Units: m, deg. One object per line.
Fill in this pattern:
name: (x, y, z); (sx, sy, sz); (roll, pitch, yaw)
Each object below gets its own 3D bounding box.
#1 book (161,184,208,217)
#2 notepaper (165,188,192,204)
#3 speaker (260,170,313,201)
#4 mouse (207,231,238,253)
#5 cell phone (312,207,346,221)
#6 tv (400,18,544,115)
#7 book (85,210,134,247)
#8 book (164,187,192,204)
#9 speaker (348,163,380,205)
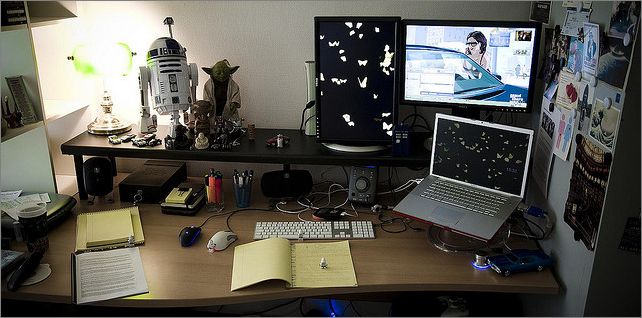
book: (-0.955, 0.291, 2.803); (0.253, 0.073, 0.219); (-2, 22, 0)
notepaper: (-0.993, 0.251, 2.801); (0.133, 0.025, 0.115); (0, 32, 4)
speaker: (-0.261, 0.178, 2.983); (0.369, 0.182, 0.194); (-5, 22, -10)
mouse: (-0.650, 0.510, 2.596); (0.149, 0.064, 0.232); (7, 19, 19)
cell phone: (0.051, 0.378, 2.766); (0.142, 0.031, 0.096); (1, 20, 5)
tv: (1.004, -0.630, 2.653); (0.841, 0.466, 0.056); (2, 20, 8)
book: (-1.413, 0.447, 2.689); (0.285, 0.052, 0.266); (-1, 47, -24)
book: (-0.992, 0.239, 2.790); (0.133, 0.026, 0.115); (0, 32, 4)
speaker: (0.295, 0.175, 2.853); (0.188, 0.276, 0.090); (9, 12, 10)
